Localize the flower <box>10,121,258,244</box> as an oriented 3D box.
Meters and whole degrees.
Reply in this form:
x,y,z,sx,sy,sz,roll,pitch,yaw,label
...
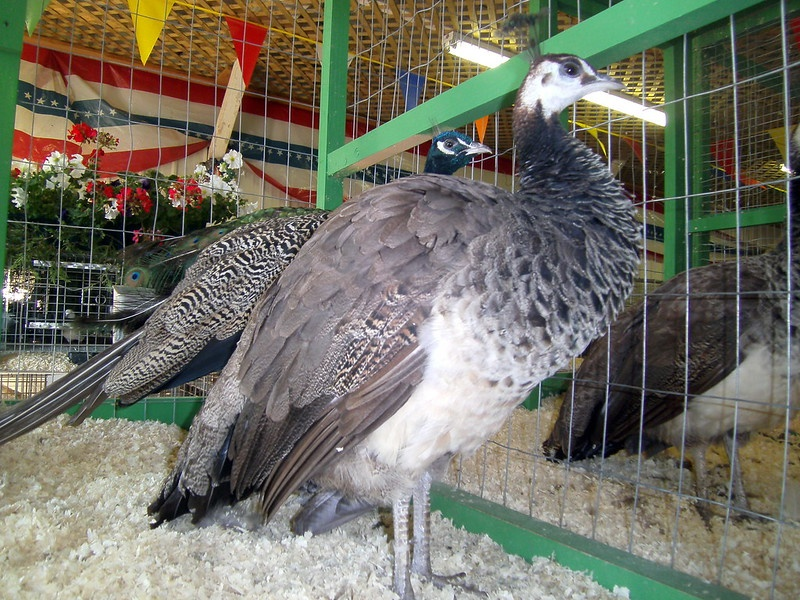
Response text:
x,y,z,sx,sy,sz,roll,pitch,yaw,label
-2.052,-0.704,4.944,1.537,0.693,1.111,3,9,13,flower
